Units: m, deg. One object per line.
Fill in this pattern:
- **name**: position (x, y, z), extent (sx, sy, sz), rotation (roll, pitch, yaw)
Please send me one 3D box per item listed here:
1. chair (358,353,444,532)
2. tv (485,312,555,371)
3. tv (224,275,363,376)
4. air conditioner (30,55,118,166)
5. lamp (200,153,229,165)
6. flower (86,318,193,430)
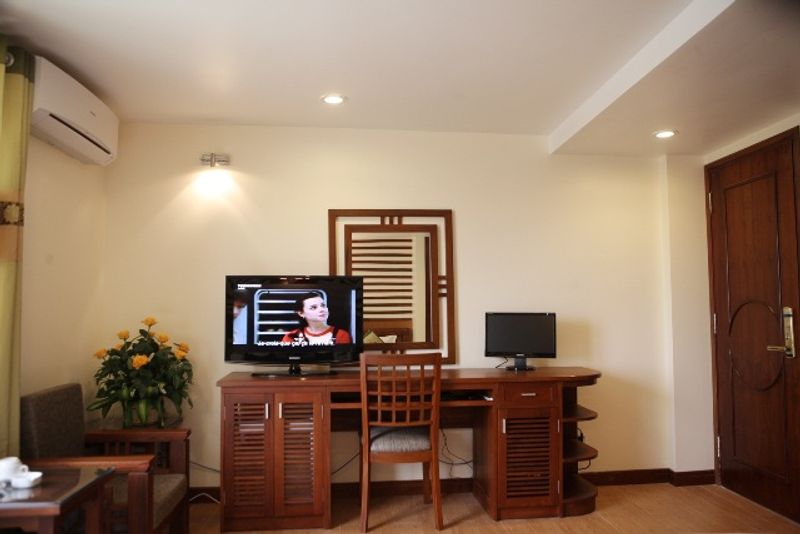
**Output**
- **chair**: position (-0.007, 1.278, 4.905), extent (0.680, 1.363, 0.714), rotation (-1, 10, 1)
- **tv**: position (1.011, 0.594, 5.243), extent (0.491, 0.360, 0.130), rotation (1, -3, 1)
- **tv**: position (-0.856, 0.445, 5.055), extent (0.849, 0.599, 0.090), rotation (1, -4, -4)
- **air conditioner**: position (-2.425, -1.120, 4.565), extent (0.318, 0.723, 0.763), rotation (0, 10, 3)
- **lamp**: position (-1.549, -0.918, 5.297), extent (0.232, 0.105, 0.063), rotation (-4, 11, -18)
- **flower**: position (-1.878, 0.792, 4.970), extent (0.844, 0.788, 0.850), rotation (-7, -9, 36)
